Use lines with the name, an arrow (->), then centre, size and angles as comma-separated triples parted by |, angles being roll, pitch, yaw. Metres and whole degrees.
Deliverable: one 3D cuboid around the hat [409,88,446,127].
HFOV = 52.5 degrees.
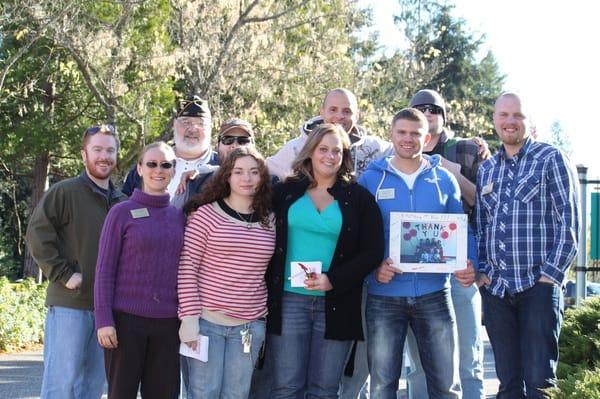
hat -> 1.843, -1.364, 8.666 | 0.461, 0.415, 0.514 | 3, -13, 7
